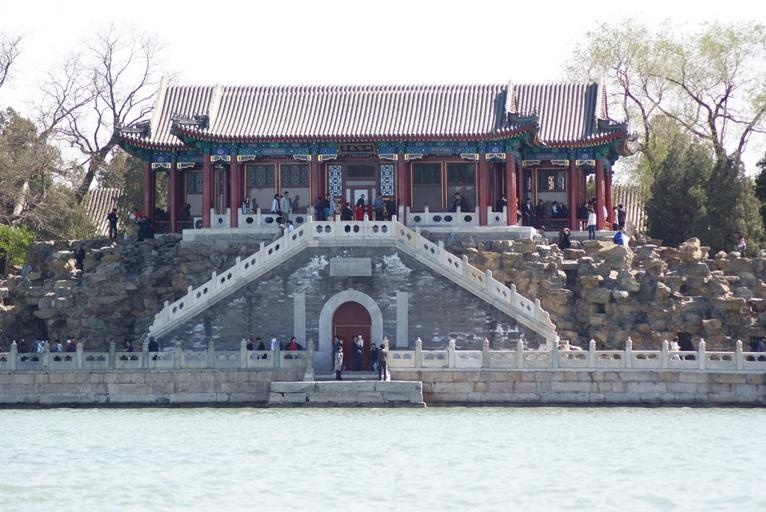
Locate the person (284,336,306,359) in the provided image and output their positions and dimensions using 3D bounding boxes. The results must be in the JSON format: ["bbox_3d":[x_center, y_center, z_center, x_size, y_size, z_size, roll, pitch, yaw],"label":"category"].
[{"bbox_3d":[-3.483,3.702,70.084,0.640,1.432,0.466,0,-34,-5],"label":"person"}]

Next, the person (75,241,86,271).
[{"bbox_3d":[-12.875,-0.001,74.573,0.457,1.205,0.891,2,-7,-12],"label":"person"}]

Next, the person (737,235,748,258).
[{"bbox_3d":[15.543,-0.373,75.908,0.376,1.092,0.396,-10,27,10],"label":"person"}]

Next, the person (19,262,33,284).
[{"bbox_3d":[-15.258,0.858,75.213,0.661,1.086,0.746,1,-33,-5],"label":"person"}]

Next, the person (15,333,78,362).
[{"bbox_3d":[-13.155,3.722,70.146,1.857,0.647,1.146,-2,-1,14],"label":"person"}]
